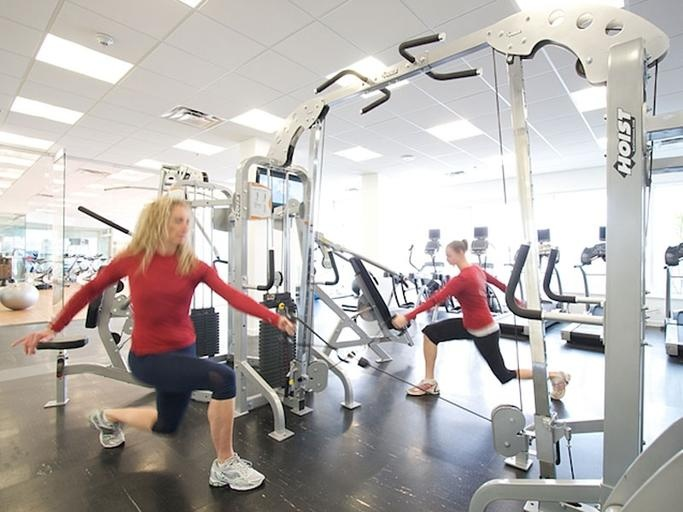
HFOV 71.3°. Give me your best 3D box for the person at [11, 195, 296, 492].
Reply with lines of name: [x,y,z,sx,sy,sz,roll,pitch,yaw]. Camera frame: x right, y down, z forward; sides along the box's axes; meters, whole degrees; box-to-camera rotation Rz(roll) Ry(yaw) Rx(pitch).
person: [-0.975,0.575,2.837,1.246,1.837,0.468,3,11,18]

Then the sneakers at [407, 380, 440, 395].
sneakers: [0.708,1.153,4.183,0.251,0.109,0.130,0,-4,13]

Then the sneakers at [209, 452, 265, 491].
sneakers: [-0.653,1.372,3.050,0.344,0.170,0.174,1,-2,7]

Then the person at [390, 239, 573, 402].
person: [1.169,0.556,3.905,1.418,1.211,0.638,1,-4,34]
